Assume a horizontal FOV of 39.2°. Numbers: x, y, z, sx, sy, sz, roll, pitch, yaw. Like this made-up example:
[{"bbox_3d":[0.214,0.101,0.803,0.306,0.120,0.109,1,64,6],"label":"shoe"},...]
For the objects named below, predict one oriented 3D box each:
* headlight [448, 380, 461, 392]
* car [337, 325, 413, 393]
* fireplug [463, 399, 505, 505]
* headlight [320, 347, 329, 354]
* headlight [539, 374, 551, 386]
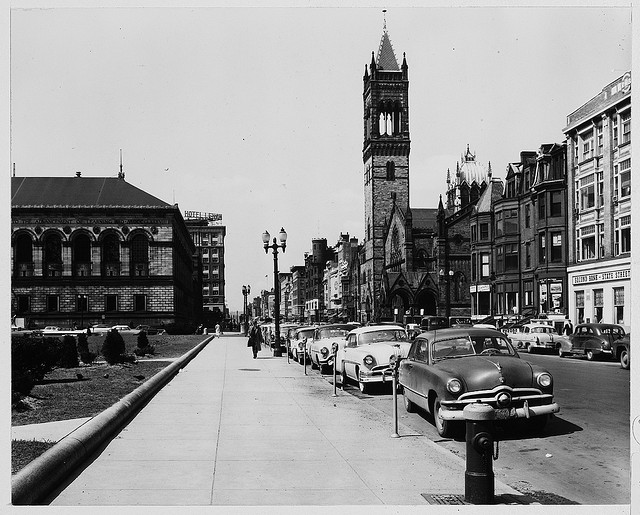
[{"bbox_3d":[2.666,2.581,17.865,0.187,0.224,0.196,-3,3,-27],"label":"headlight"},{"bbox_3d":[1.604,2.803,25.772,2.011,1.769,3.794,-1,-1,-15],"label":"car"},{"bbox_3d":[2.534,3.157,14.323,0.516,1.565,0.358,-3,-6,10],"label":"fireplug"},{"bbox_3d":[0.152,3.074,29.245,0.307,0.211,0.177,-5,-7,21],"label":"headlight"},{"bbox_3d":[4.477,2.472,17.932,0.247,0.225,0.061,-1,-6,-14],"label":"headlight"}]
